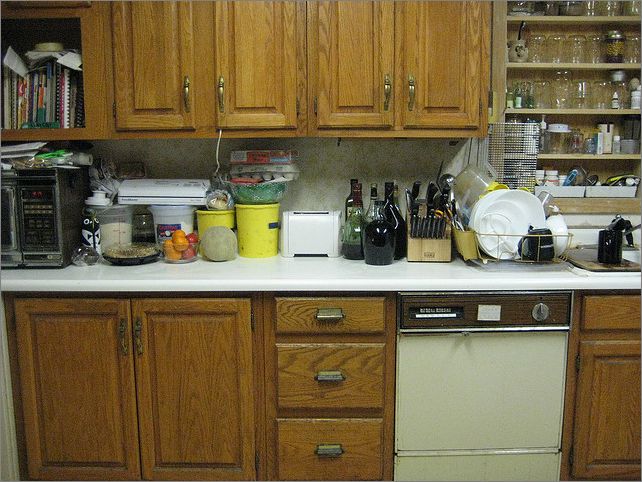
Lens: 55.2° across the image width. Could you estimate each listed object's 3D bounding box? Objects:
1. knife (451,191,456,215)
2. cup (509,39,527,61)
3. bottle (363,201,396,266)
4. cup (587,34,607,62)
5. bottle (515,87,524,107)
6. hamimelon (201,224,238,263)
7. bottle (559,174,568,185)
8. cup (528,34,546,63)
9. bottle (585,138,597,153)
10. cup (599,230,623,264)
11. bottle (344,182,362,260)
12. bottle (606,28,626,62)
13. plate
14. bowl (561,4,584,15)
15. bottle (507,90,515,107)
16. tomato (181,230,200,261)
[{"bbox_3d":[0.617,-0.179,2.879,0.028,0.109,0.084,-1,8,12],"label":"knife"},{"bbox_3d":[1.063,-1.026,3.322,0.084,0.111,0.114,6,15,25],"label":"cup"},{"bbox_3d":[0.267,-0.040,2.885,0.156,0.295,0.156,-2,8,0],"label":"bottle"},{"bbox_3d":[1.511,-1.066,3.399,0.100,0.156,0.062,-1,8,10],"label":"cup"},{"bbox_3d":[1.080,-0.786,3.377,0.043,0.108,0.076,1,9,23],"label":"bottle"},{"bbox_3d":[-0.471,0.014,2.958,0.166,0.170,0.162,-2,-5,31],"label":"hamimelon"},{"bbox_3d":[1.337,-0.339,3.417,0.049,0.077,0.053,0,6,0],"label":"bottle"},{"bbox_3d":[1.180,-1.052,3.366,0.096,0.136,0.045,-1,8,9],"label":"cup"},{"bbox_3d":[1.492,-0.530,3.418,0.061,0.098,0.059,-1,19,0],"label":"bottle"},{"bbox_3d":[1.328,0.025,2.820,0.093,0.154,0.090,-1,13,0],"label":"cup"},{"bbox_3d":[0.143,-0.092,2.947,0.108,0.363,0.075,-1,8,9],"label":"bottle"},{"bbox_3d":[1.621,-1.053,3.397,0.104,0.177,0.099,1,1,0],"label":"bottle"},{"bbox_3d":[0.802,-0.093,2.668,0.309,0.325,0.141,7,1,2],"label":"plate"},{"bbox_3d":[1.361,-1.265,3.339,0.078,0.049,0.079,0,17,0],"label":"bowl"},{"bbox_3d":[1.031,-0.776,3.369,0.064,0.084,0.034,-5,8,-20],"label":"bottle"},{"bbox_3d":[-0.612,0.025,2.919,0.086,0.099,0.100,2,2,-8],"label":"tomato"}]
